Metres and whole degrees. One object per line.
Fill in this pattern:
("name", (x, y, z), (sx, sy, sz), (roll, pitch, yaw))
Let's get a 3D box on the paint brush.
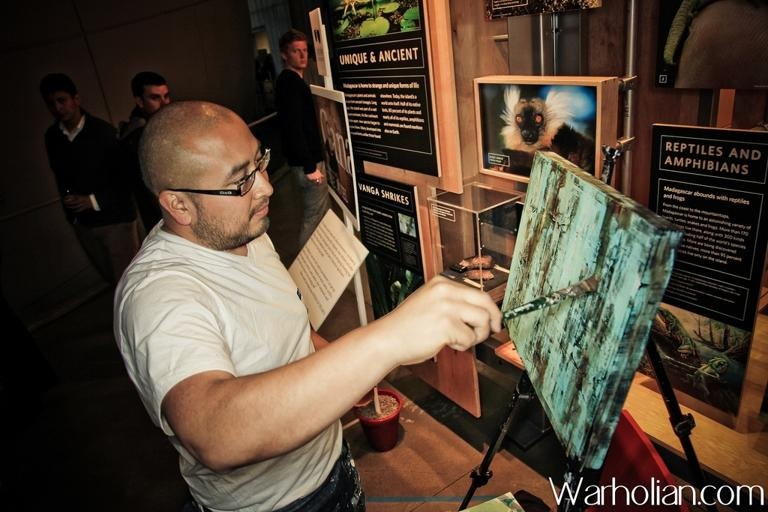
("paint brush", (0.469, 0.112, 1.443), (0.250, 0.154, 0.143), (-2, 22, 8))
